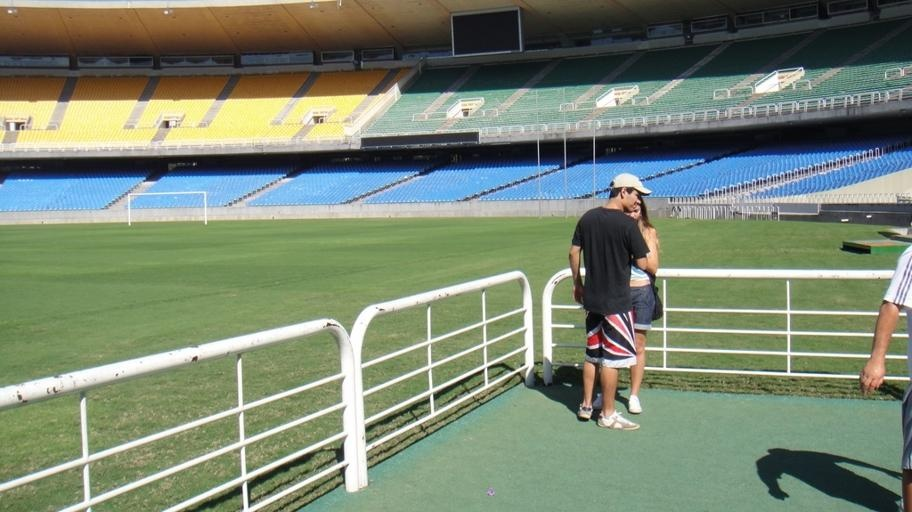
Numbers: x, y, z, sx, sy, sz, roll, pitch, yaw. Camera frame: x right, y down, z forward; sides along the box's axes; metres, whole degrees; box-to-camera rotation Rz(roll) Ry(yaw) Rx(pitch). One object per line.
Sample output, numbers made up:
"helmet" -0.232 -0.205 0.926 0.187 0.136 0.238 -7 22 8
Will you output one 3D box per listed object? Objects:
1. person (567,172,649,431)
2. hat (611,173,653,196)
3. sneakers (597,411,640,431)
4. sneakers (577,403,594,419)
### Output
"person" 2.234 0.654 10.649 1.110 3.676 0.776 2 10 12
"hat" 2.624 -1.081 10.719 0.677 0.282 0.391 1 2 -1
"sneakers" 2.338 2.430 10.706 0.689 0.250 0.231 1 -1 2
"sneakers" 1.915 2.306 10.734 0.219 0.150 0.469 -2 -9 14
